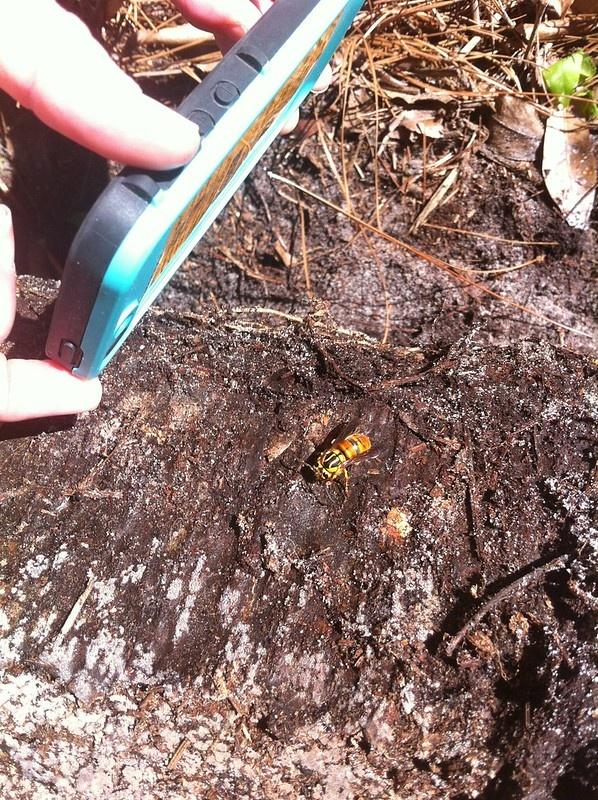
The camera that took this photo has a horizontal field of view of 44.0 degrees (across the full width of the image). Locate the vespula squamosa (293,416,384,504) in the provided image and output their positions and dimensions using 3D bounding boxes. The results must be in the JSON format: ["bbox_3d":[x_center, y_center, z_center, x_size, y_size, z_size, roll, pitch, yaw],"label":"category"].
[{"bbox_3d":[0.142,0.191,2.519,0.200,0.267,0.089,46,10,13],"label":"vespula squamosa"}]
